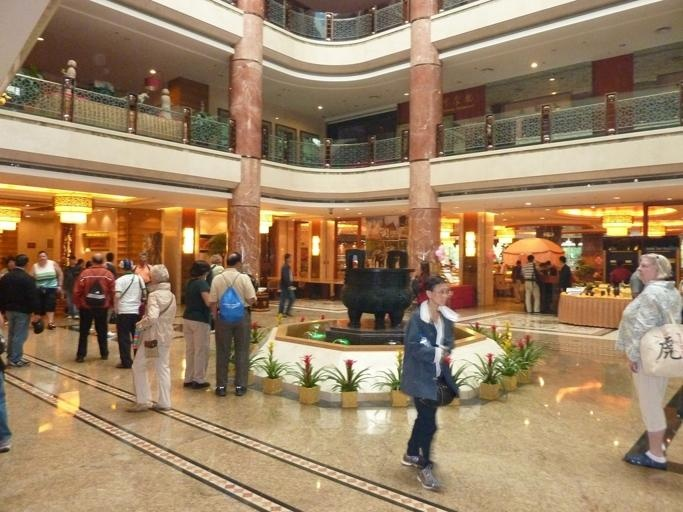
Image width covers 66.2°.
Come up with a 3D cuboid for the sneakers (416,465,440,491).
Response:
[{"bbox_3d":[0.772,1.998,4.692,0.132,0.097,0.245,2,-7,-22],"label":"sneakers"}]

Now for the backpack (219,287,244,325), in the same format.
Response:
[{"bbox_3d":[-1.335,0.635,6.610,0.358,0.464,0.235,-8,14,-38],"label":"backpack"}]

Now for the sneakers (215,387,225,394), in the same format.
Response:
[{"bbox_3d":[-1.544,1.735,6.700,0.112,0.112,0.089,-1,11,-9],"label":"sneakers"}]

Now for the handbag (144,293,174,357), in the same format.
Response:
[{"bbox_3d":[-2.104,0.844,6.099,0.261,0.567,0.480,12,-12,-30],"label":"handbag"}]

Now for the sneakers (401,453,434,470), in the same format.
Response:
[{"bbox_3d":[0.667,1.930,4.872,0.335,0.115,0.135,-3,-5,42],"label":"sneakers"}]

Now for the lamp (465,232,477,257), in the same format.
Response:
[{"bbox_3d":[4.185,-0.380,16.806,0.458,0.813,0.121,10,15,41],"label":"lamp"}]

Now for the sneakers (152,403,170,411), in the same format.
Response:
[{"bbox_3d":[-2.147,1.805,6.228,0.193,0.032,0.094,0,-2,28],"label":"sneakers"}]

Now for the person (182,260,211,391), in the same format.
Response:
[{"bbox_3d":[-1.930,0.938,6.980,0.414,1.739,0.421,-2,12,-14],"label":"person"}]

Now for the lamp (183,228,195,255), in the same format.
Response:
[{"bbox_3d":[-4.868,-0.481,16.701,0.523,0.671,0.181,-2,2,-34],"label":"lamp"}]

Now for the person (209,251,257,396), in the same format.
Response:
[{"bbox_3d":[-1.394,0.900,6.808,0.577,1.864,0.601,-2,12,-12],"label":"person"}]

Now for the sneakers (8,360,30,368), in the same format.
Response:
[{"bbox_3d":[-4.862,1.648,7.925,0.242,0.079,0.080,-2,7,-26],"label":"sneakers"}]

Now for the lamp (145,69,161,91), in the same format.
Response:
[{"bbox_3d":[-5.792,-5.372,16.043,0.527,0.476,0.524,-6,-10,39],"label":"lamp"}]

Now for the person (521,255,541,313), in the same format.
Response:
[{"bbox_3d":[5.451,0.831,14.952,0.596,1.669,0.705,4,12,17],"label":"person"}]

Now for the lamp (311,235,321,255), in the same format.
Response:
[{"bbox_3d":[-0.960,-0.394,20.121,0.448,0.789,0.130,8,14,35],"label":"lamp"}]

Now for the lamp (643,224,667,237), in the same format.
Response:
[{"bbox_3d":[8.652,-0.695,14.411,0.556,0.303,0.499,-2,4,-22],"label":"lamp"}]

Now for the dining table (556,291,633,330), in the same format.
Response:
[{"bbox_3d":[6.268,1.364,13.086,1.600,0.446,1.476,4,-1,-24],"label":"dining table"}]

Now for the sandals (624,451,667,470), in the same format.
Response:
[{"bbox_3d":[2.930,1.988,5.062,0.299,0.086,0.155,5,-1,26],"label":"sandals"}]

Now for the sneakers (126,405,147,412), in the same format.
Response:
[{"bbox_3d":[-2.408,1.812,6.183,0.220,0.104,0.067,6,-3,4],"label":"sneakers"}]

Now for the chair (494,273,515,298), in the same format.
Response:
[{"bbox_3d":[6.483,1.219,21.506,1.091,0.943,0.993,-1,-1,21],"label":"chair"}]

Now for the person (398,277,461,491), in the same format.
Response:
[{"bbox_3d":[0.794,1.112,4.719,0.494,1.859,0.610,2,12,10],"label":"person"}]

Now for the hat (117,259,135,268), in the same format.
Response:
[{"bbox_3d":[-3.345,0.122,8.128,0.180,0.121,0.151,3,-6,4],"label":"hat"}]

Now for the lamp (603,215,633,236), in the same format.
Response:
[{"bbox_3d":[8.671,-0.926,16.511,0.860,0.477,0.744,1,-5,-3],"label":"lamp"}]

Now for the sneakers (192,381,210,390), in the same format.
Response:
[{"bbox_3d":[-1.875,1.742,7.056,0.251,0.130,0.082,-3,8,-17],"label":"sneakers"}]

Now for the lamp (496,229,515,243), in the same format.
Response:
[{"bbox_3d":[7.701,-0.961,24.575,0.859,0.523,0.828,0,1,-42],"label":"lamp"}]

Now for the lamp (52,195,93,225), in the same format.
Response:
[{"bbox_3d":[-6.914,-1.168,13.423,0.864,0.514,0.852,0,0,37],"label":"lamp"}]

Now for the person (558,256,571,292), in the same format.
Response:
[{"bbox_3d":[6.341,0.542,14.807,0.351,0.978,1.356,5,11,22],"label":"person"}]

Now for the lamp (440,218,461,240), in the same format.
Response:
[{"bbox_3d":[4.341,-1.020,21.001,0.674,1.087,1.625,2,10,9],"label":"lamp"}]
